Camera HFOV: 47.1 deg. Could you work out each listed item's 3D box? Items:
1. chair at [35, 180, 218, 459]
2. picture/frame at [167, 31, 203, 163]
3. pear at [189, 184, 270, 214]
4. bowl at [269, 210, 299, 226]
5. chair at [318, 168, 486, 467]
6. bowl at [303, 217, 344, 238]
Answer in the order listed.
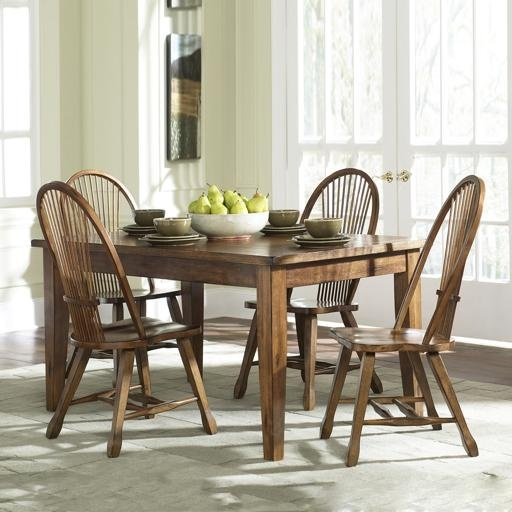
[{"bbox_3d":[-0.497,0.193,2.257,0.621,0.961,0.752,-2,2,-17],"label":"chair"},{"bbox_3d":[-0.570,-1.250,4.648,0.331,1.000,0.071,-3,3,-41],"label":"picture/frame"},{"bbox_3d":[-0.118,-0.214,2.390,0.249,0.080,0.160,0,-2,9],"label":"pear"},{"bbox_3d":[0.118,-0.172,2.618,0.098,0.039,0.090,-2,5,0],"label":"bowl"},{"bbox_3d":[0.498,0.194,2.069,0.559,0.953,0.682,-1,2,17],"label":"chair"},{"bbox_3d":[0.243,-0.109,2.156,0.105,0.043,0.091,0,8,8],"label":"bowl"}]
